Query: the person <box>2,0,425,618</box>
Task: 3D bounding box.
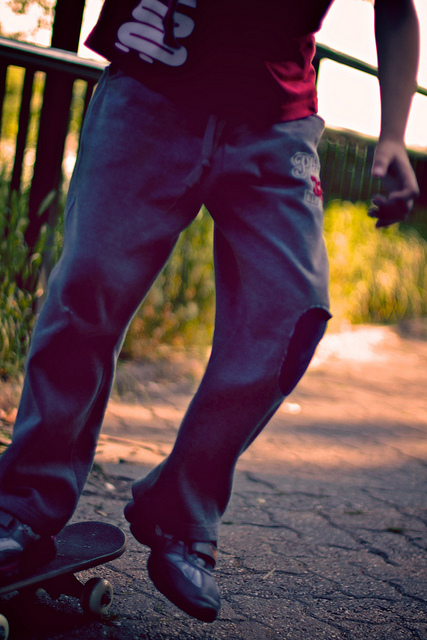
[{"bbox_3d":[-0.064,-0.043,0.962,0.561,0.749,0.284,10,5,4],"label":"person"}]
